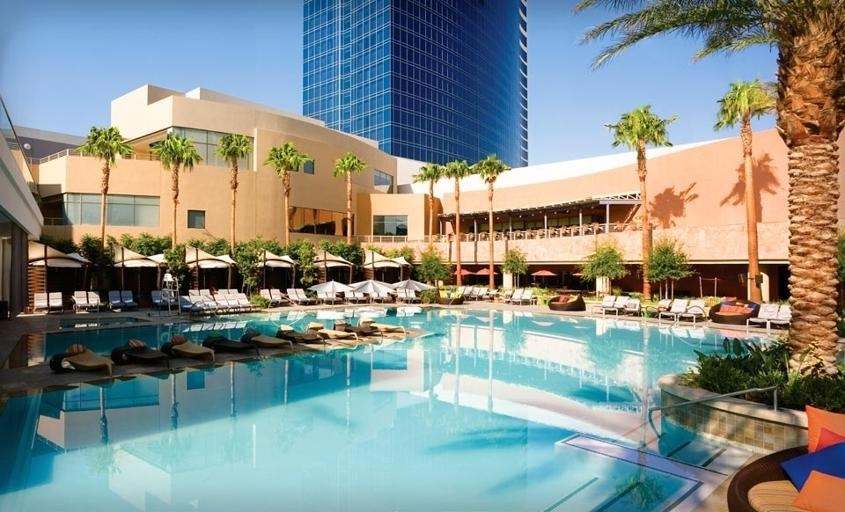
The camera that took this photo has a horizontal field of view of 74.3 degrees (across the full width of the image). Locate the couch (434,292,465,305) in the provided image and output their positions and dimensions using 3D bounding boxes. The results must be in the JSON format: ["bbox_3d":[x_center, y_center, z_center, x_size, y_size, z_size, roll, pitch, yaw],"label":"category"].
[{"bbox_3d":[2.150,3.481,43.571,1.872,0.758,1.384,-2,14,-8],"label":"couch"}]

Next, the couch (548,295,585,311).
[{"bbox_3d":[10.034,3.345,38.587,2.031,0.891,2.393,11,17,37],"label":"couch"}]

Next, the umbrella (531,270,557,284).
[{"bbox_3d":[11.186,2.250,51.414,1.864,0.857,1.949,2,3,35],"label":"umbrella"}]

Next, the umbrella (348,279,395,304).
[{"bbox_3d":[-3.239,2.331,37.065,2.506,1.142,2.510,1,-1,-19],"label":"umbrella"}]

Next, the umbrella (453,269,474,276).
[{"bbox_3d":[4.092,1.689,54.122,1.012,0.394,1.014,-3,1,28],"label":"umbrella"}]
